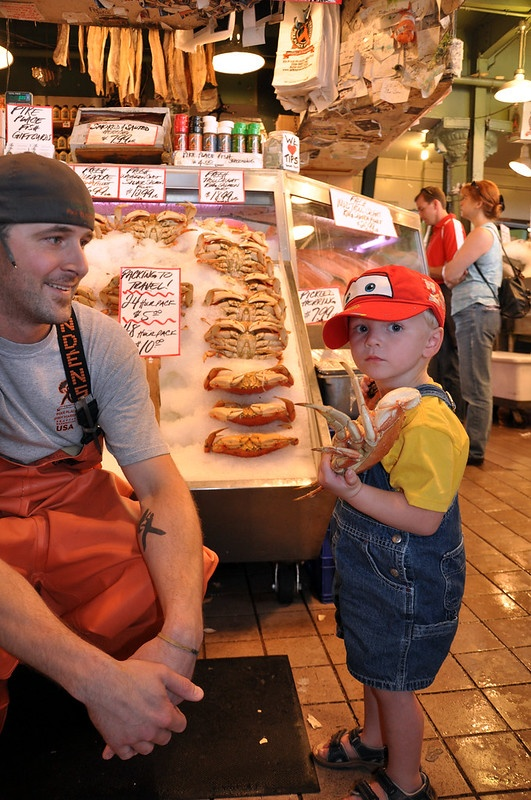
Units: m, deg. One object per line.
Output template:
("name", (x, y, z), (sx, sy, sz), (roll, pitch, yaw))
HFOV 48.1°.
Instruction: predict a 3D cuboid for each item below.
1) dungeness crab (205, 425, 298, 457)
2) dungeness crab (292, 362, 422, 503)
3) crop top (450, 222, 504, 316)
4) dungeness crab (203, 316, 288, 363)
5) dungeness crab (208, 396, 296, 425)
("dungeness crab", (-0.051, 0.107, 1.960), (0.277, 0.082, 0.272), (-2, 9, -17))
("dungeness crab", (0.177, 0.050, 1.071), (0.144, 0.241, 0.317), (7, 8, 23))
("crop top", (1.345, -0.827, 3.738), (0.294, 0.540, 0.278), (15, 20, 29))
("dungeness crab", (-0.067, -0.201, 2.032), (0.192, 0.181, 0.071), (1, 55, -3))
("dungeness crab", (-0.055, 0.009, 1.999), (0.271, 0.082, 0.284), (-4, 10, -28))
